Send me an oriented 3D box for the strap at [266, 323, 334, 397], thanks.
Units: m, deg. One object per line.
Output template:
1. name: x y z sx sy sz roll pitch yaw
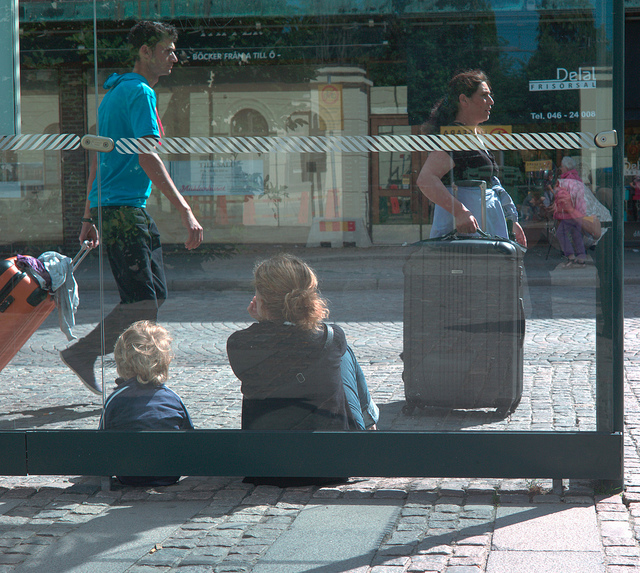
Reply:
1. strap: -0.082 0.312 5.885 0.282 0.318 0.027 -4 16 -9

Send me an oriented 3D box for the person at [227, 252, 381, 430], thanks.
1. person: -0.126 0.460 6.251 0.642 1.201 0.726 -6 16 -5

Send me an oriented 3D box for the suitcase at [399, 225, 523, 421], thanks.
1. suitcase: 0.629 0.139 6.095 0.604 0.764 0.557 -2 -5 24

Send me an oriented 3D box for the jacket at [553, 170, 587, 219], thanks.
1. jacket: 1.023 -0.378 5.604 0.068 0.193 0.165 13 20 42

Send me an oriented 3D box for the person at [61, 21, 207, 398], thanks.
1. person: -0.827 -0.322 5.804 0.619 1.590 0.355 -3 15 -7

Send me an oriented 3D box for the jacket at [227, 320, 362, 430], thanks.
1. jacket: -0.122 0.332 6.010 0.515 0.524 0.314 3 27 -11

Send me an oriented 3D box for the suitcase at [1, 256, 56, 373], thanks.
1. suitcase: -1.287 0.114 5.955 0.304 0.515 0.137 4 16 21

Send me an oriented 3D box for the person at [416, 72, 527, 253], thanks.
1. person: 0.619 -0.523 5.699 0.442 0.737 0.202 -1 15 3

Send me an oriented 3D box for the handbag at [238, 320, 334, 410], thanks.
1. handbag: -0.139 0.348 5.916 0.457 0.362 0.107 6 1 -43

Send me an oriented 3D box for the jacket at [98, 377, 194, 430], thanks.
1. jacket: -0.751 0.557 6.018 0.411 0.302 0.207 -8 8 -34
